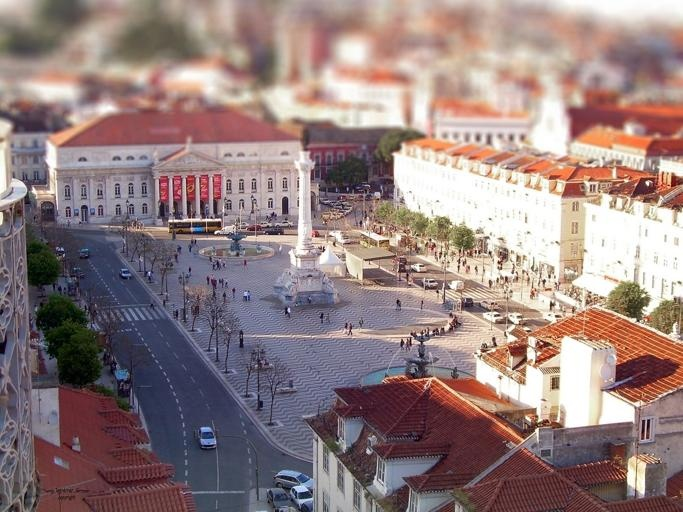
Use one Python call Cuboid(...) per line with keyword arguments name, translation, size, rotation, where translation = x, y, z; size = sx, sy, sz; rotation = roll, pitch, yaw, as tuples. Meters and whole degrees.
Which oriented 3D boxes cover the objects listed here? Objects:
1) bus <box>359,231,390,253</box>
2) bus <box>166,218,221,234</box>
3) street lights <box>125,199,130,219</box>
Cuboid(name="bus", translation=(3.783, -1.745, 134.426), size=(1.392, 1.284, 4.797), rotation=(-2, 23, -17))
Cuboid(name="bus", translation=(-18.271, -3.228, 147.294), size=(7.880, 2.410, 2.353), rotation=(1, 9, -20))
Cuboid(name="street lights", translation=(-28.099, -6.151, 156.739), size=(0.719, 2.216, 0.873), rotation=(-3, 13, -10))
